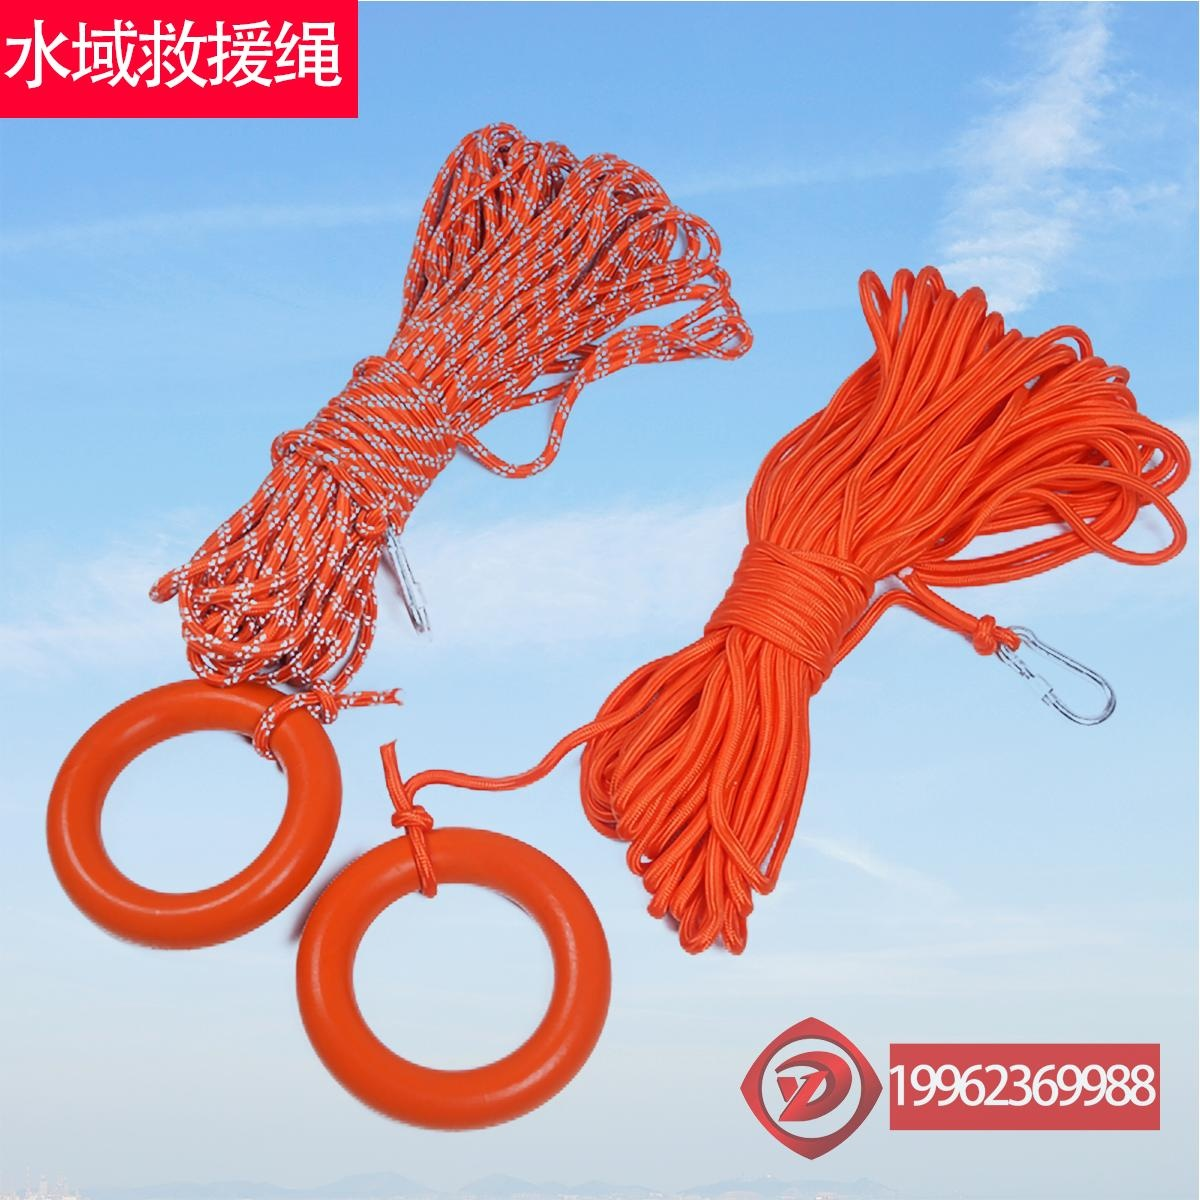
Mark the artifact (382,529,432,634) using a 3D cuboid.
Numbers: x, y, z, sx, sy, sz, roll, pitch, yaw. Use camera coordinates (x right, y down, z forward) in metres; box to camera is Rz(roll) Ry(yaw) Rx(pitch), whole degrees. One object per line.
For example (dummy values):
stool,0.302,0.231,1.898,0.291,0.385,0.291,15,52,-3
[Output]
artifact,-0.303,-0.026,2.247,0.047,0.173,0.068,-27,9,2
